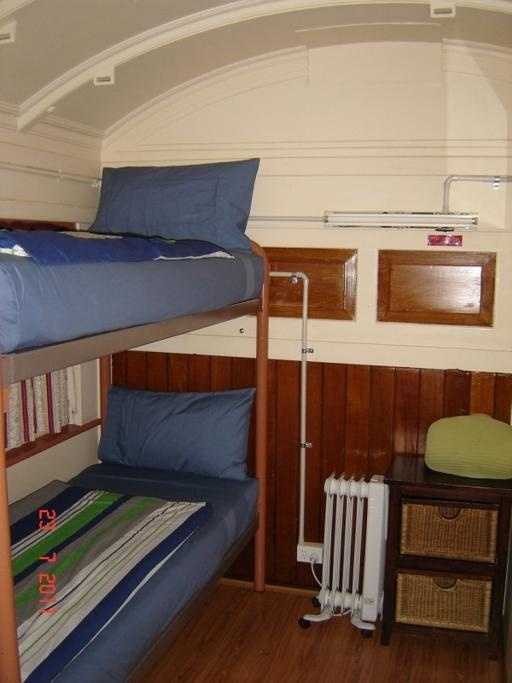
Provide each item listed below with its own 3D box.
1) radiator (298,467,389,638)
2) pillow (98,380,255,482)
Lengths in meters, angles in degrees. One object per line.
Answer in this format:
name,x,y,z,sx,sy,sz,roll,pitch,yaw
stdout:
radiator,0.382,0.907,2.576,0.374,0.754,0.605,2,4,5
pillow,-0.406,0.436,2.795,0.756,0.413,0.203,4,-8,4
